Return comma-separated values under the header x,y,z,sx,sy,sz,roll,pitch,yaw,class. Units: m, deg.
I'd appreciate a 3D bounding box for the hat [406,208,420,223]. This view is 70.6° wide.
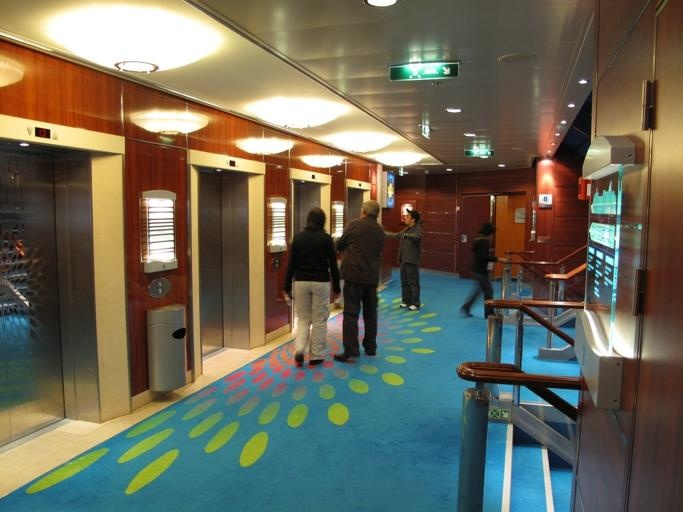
x,y,z,sx,sy,sz,roll,pitch,yaw,class
1.321,-0.742,8.804,0.203,0.286,0.242,-3,16,-25,hat

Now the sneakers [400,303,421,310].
x,y,z,sx,sy,sz,roll,pitch,yaw,class
1.255,0.946,9.009,0.308,0.136,0.135,-1,3,34,sneakers

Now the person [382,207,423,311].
x,y,z,sx,sy,sz,roll,pitch,yaw,class
1.209,0.078,8.937,0.521,1.878,0.867,0,9,9,person

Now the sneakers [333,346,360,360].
x,y,z,sx,sy,sz,roll,pitch,yaw,class
0.035,1.182,5.920,0.335,0.236,0.121,5,1,-5,sneakers

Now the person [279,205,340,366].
x,y,z,sx,sy,sz,roll,pitch,yaw,class
-0.349,0.370,5.566,0.626,1.814,0.342,-1,9,1,person
